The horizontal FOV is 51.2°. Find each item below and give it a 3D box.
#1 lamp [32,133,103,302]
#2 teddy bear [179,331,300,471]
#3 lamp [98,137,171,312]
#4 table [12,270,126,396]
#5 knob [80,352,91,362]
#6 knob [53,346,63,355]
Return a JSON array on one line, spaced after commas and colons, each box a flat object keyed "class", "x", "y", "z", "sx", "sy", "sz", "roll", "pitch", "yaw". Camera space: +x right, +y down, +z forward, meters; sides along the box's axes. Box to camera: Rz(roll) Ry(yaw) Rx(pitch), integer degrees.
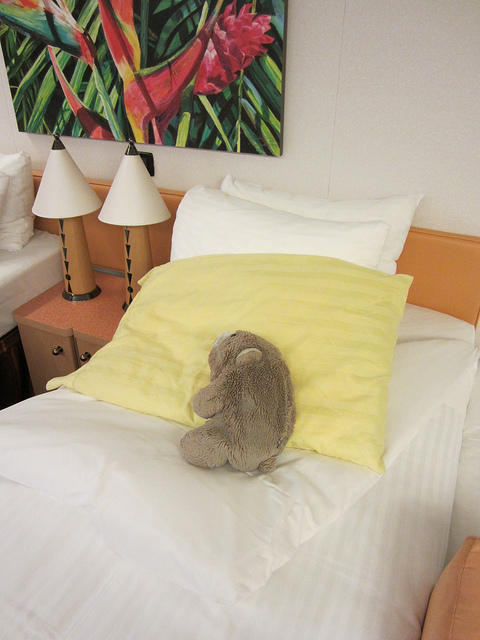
[{"class": "lamp", "x": -0.592, "y": -0.358, "z": 1.737, "sx": 0.238, "sy": 0.545, "sz": 0.237, "roll": -1, "pitch": 26, "yaw": -5}, {"class": "teddy bear", "x": 0.005, "y": 0.157, "z": 0.972, "sx": 0.227, "sy": 0.221, "sz": 0.246, "roll": 3, "pitch": 28, "yaw": -1}, {"class": "lamp", "x": -0.340, "y": -0.307, "z": 1.653, "sx": 0.245, "sy": 0.557, "sz": 0.249, "roll": 6, "pitch": 22, "yaw": 15}, {"class": "table", "x": -0.608, "y": 0.108, "z": 1.996, "sx": 0.333, "sy": 0.479, "sz": 0.470, "roll": 17, "pitch": 31, "yaw": 3}, {"class": "knob", "x": -0.525, "y": 0.124, "z": 1.708, "sx": 0.022, "sy": 0.035, "sz": 0.018, "roll": 56, "pitch": 26, "yaw": 6}, {"class": "knob", "x": -0.620, "y": 0.105, "z": 1.703, "sx": 0.022, "sy": 0.013, "sz": 0.031, "roll": 37, "pitch": 55, "yaw": 15}]
